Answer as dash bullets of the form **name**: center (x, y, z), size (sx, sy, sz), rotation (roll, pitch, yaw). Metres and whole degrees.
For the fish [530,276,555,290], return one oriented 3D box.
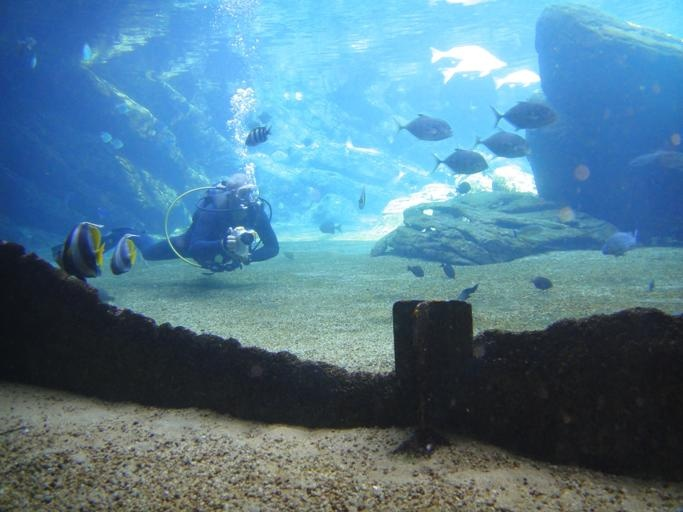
- **fish**: center (5.984, 0.811, 17.500), size (0.506, 0.409, 0.257), rotation (-2, 3, 17)

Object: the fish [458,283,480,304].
- **fish**: center (3.667, 1.100, 16.903), size (0.955, 0.370, 0.168), rotation (-28, 8, -17)

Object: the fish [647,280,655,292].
- **fish**: center (9.067, 0.905, 17.231), size (0.130, 0.291, 0.068), rotation (17, -3, -3)

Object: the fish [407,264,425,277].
- **fish**: center (2.523, 0.514, 19.586), size (0.496, 0.386, 1.144), rotation (-3, 2, 8)

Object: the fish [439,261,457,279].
- **fish**: center (3.433, 0.604, 18.906), size (0.477, 0.227, 0.750), rotation (-2, 29, -4)

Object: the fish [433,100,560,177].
- **fish**: center (5.262, -3.932, 19.688), size (3.615, 2.272, 0.947), rotation (-3, 3, 1)

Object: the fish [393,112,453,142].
- **fish**: center (2.663, -4.288, 19.433), size (2.254, 0.999, 0.633), rotation (8, 33, 16)
